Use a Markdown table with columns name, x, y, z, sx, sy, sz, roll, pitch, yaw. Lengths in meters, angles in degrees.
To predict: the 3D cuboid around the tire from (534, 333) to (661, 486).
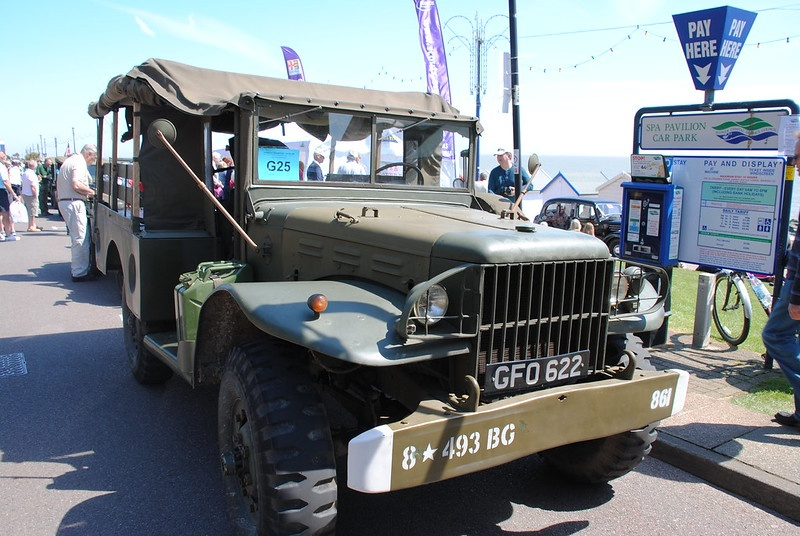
| name | x | y | z | sx | sy | sz | roll | pitch | yaw |
| --- | --- | --- | --- | --- | --- | --- | --- | --- | --- |
| tire | 1.439 | 1.026 | 4.508 | 0.334 | 1.171 | 1.089 | 1 | 11 | -27 |

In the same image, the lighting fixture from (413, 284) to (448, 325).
| name | x | y | z | sx | sy | sz | roll | pitch | yaw |
| --- | --- | --- | --- | --- | --- | --- | --- | --- | --- |
| lighting fixture | 0.219 | 0.238 | 4.074 | 0.228 | 0.256 | 0.088 | -8 | 2 | 21 |

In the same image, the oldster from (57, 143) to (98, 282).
| name | x | y | z | sx | sy | sz | roll | pitch | yaw |
| --- | --- | --- | --- | --- | --- | --- | --- | --- | --- |
| oldster | -5.820 | -1.043 | 11.284 | 0.938 | 2.466 | 0.880 | 1 | 10 | -29 |

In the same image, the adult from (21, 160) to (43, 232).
| name | x | y | z | sx | sy | sz | roll | pitch | yaw |
| --- | --- | --- | --- | --- | --- | --- | --- | --- | --- |
| adult | -10.995 | -2.224 | 18.310 | 0.451 | 2.028 | 2.349 | -6 | 12 | -31 |

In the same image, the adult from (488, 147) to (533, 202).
| name | x | y | z | sx | sy | sz | roll | pitch | yaw |
| --- | --- | --- | --- | --- | --- | --- | --- | --- | --- |
| adult | 1.785 | -1.468 | 10.314 | 0.840 | 1.216 | 0.657 | -4 | 13 | 4 |
